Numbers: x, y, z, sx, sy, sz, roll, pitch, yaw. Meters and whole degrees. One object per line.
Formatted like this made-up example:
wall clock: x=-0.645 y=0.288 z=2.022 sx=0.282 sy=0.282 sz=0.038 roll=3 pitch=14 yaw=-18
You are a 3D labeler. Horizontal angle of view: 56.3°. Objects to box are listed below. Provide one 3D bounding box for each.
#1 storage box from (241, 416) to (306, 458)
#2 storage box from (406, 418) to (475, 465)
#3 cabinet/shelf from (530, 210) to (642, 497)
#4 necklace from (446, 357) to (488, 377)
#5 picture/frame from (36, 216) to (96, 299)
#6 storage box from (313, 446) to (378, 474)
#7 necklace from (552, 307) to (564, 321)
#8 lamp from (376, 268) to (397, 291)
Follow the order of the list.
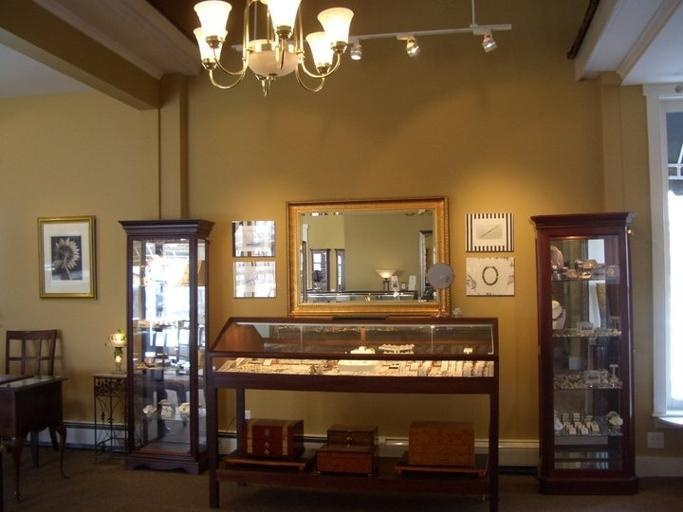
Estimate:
storage box: x=-0.683 y=1.819 z=6.299 sx=0.546 sy=0.349 sz=0.363 roll=2 pitch=7 yaw=10
storage box: x=0.966 y=1.658 z=6.187 sx=0.597 sy=0.332 sz=0.351 roll=1 pitch=4 yaw=7
cabinet/shelf: x=2.596 y=0.972 z=6.704 sx=1.038 sy=2.906 sz=0.646 roll=-5 pitch=-22 yaw=30
necklace: x=1.187 y=1.054 z=5.963 sx=0.437 sy=0.140 sz=0.064 roll=0 pitch=8 yaw=6
picture/frame: x=-3.310 y=0.034 z=7.743 sx=0.934 sy=1.255 sz=0.064 roll=-1 pitch=3 yaw=14
storage box: x=0.040 y=1.969 z=6.123 sx=0.554 sy=0.239 sz=0.132 roll=0 pitch=8 yaw=6
necklace: x=2.204 y=0.600 z=6.475 sx=0.118 sy=0.114 sz=0.096 roll=-8 pitch=4 yaw=-4
lamp: x=0.497 y=0.259 z=7.029 sx=0.208 sy=0.251 sz=0.210 roll=2 pitch=-3 yaw=-25
